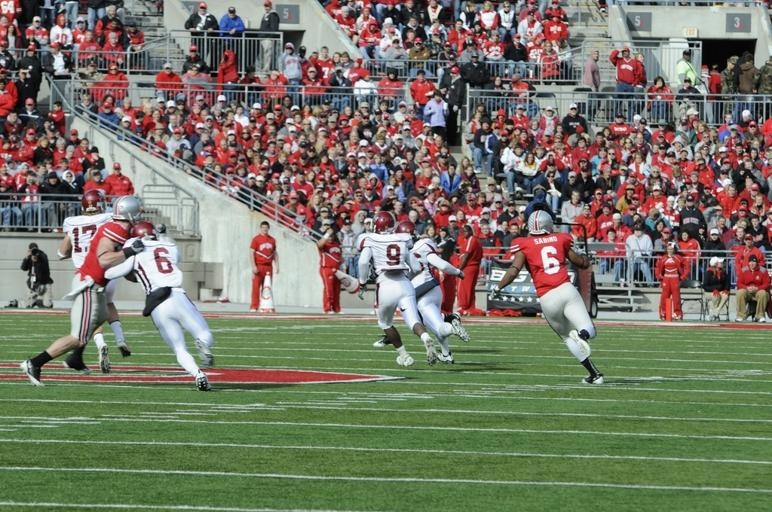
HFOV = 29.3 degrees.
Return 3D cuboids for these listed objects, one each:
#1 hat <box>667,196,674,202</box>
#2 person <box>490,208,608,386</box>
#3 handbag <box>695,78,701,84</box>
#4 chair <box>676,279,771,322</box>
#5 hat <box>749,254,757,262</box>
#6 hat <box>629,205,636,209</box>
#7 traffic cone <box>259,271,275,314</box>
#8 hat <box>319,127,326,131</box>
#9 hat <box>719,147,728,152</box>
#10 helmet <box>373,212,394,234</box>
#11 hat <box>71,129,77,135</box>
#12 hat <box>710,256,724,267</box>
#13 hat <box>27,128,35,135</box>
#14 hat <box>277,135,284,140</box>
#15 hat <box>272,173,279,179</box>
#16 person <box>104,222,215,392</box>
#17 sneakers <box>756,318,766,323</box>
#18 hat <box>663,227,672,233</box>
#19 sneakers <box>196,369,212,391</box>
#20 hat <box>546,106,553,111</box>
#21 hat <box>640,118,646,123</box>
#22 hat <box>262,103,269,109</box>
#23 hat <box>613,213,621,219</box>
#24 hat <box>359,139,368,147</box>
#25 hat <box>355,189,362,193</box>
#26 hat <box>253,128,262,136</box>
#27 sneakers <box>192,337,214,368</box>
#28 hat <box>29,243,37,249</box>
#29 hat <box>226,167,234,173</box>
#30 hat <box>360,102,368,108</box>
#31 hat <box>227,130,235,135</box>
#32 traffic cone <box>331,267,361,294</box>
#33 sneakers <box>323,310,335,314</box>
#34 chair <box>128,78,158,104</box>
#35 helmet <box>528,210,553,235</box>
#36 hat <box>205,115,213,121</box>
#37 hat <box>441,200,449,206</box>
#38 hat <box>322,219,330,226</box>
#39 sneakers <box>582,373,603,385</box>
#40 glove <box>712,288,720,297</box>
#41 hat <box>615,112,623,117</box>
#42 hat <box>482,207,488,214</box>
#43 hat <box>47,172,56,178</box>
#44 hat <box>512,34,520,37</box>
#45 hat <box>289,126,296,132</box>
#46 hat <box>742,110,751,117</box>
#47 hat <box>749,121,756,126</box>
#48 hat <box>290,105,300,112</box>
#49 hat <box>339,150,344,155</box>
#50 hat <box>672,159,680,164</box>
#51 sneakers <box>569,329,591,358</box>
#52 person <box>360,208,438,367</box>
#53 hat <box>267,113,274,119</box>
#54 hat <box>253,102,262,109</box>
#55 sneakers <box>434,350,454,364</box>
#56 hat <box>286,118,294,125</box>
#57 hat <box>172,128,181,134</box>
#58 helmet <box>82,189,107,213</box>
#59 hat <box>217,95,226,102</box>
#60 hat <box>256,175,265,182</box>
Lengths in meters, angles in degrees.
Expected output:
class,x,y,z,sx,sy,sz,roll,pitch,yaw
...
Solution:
class,x,y,z,sx,sy,sz,roll,pitch,yaw
hat,6.309,-1.259,32.726,0.151,0.148,0.196,1,-23,11
person,2.360,0.592,20.640,1.332,2.439,0.966,-1,2,5
handbag,8.537,-4.801,40.332,0.206,0.178,0.048,-1,12,-40
chair,6.975,0.946,31.393,1.280,0.832,1.463,-1,3,-3
hat,7.581,0.064,30.424,0.230,0.141,0.150,-1,3,-5
hat,5.469,-1.093,32.745,0.140,0.115,0.214,0,3,5
traffic cone,-2.519,0.793,31.125,0.302,0.796,0.453,-1,2,-6
hat,-1.481,-2.987,34.516,0.143,0.094,0.135,0,3,-36
hat,7.919,-2.519,34.650,0.151,0.153,0.205,1,-11,-2
helmet,0.014,-0.514,22.249,0.332,0.274,0.249,2,3,21
hat,-7.135,-2.870,33.864,0.166,0.122,0.259,3,-1,-5
hat,6.986,0.126,31.239,0.240,0.096,0.161,-6,23,28
hat,-7.953,-2.805,33.134,0.216,0.193,0.275,-1,3,-13
hat,-2.424,-2.747,34.054,0.170,0.116,0.264,2,6,-3
hat,-2.505,-1.832,33.581,0.237,0.107,0.146,-3,1,25
person,-2.957,0.681,19.598,1.391,2.264,0.663,1,3,36
sneakers,7.763,1.336,30.557,0.083,0.090,0.218,0,5,-1
hat,6.156,-0.573,32.273,0.176,0.117,0.278,1,-5,8
sneakers,-2.400,1.669,19.449,0.192,0.291,0.137,-14,24,-9
hat,4.010,-3.657,36.255,0.158,0.076,0.244,1,1,3
hat,6.206,-3.283,35.644,0.112,0.060,0.115,0,2,11
hat,-2.950,-3.744,36.523,0.137,0.145,0.187,3,5,-12
hat,5.068,-0.871,32.318,0.177,0.131,0.174,0,3,14
hat,-0.503,-2.634,34.191,0.209,0.167,0.293,-1,3,-1
hat,-0.601,-1.445,32.578,0.111,0.059,0.169,1,3,-2
hat,-3.003,-2.907,34.387,0.200,0.198,0.609,-1,3,-3
sneakers,-2.375,1.282,19.389,0.168,0.453,0.207,-37,4,-6
hat,-7.414,-0.213,31.054,0.170,0.119,0.152,-4,5,-14
hat,-3.560,-1.973,33.701,0.203,0.159,0.147,-1,2,1
hat,-0.514,-3.626,35.276,0.139,0.131,0.176,4,-5,-7
hat,-3.609,-2.896,34.404,0.193,0.130,0.191,0,3,6
traffic cone,-0.581,0.409,22.598,0.322,0.313,0.622,-1,3,-15
sneakers,-1.173,1.192,31.002,0.079,0.083,0.219,1,-6,-40
chair,-6.056,-4.161,36.650,0.802,0.720,0.506,3,-6,-13
helmet,2.179,-0.462,20.857,0.303,0.295,0.377,5,24,26
hat,-4.093,-3.248,34.560,0.200,0.157,0.309,2,10,-4
hat,1.287,-1.169,32.066,0.179,0.147,0.327,-1,3,2
hat,-1.249,-0.725,31.705,0.188,0.127,0.216,-1,3,-6
sneakers,2.857,1.727,20.562,0.322,0.128,0.125,4,20,9
glove,6.966,0.783,31.119,0.170,0.142,0.145,0,3,11
hat,5.762,-3.523,36.470,0.222,0.092,0.295,2,0,9
hat,2.182,-0.976,32.187,0.153,0.145,0.287,-1,3,0
hat,-7.285,-1.779,32.241,0.194,0.134,0.165,-1,3,-13
hat,3.479,-5.894,39.296,0.160,0.115,0.248,0,-1,-5
hat,-2.149,-2.951,34.207,0.167,0.128,0.183,-1,3,-9
hat,8.955,-3.570,36.754,0.168,0.123,0.231,4,14,14
hat,9.010,-3.261,36.267,0.113,0.149,0.153,-1,-6,12
hat,-2.228,-3.611,35.890,0.187,0.235,0.266,0,0,8
hat,-1.015,-2.388,33.940,0.060,0.123,0.225,1,3,31
hat,6.765,-2.224,34.507,0.173,0.145,0.287,0,3,11
sneakers,2.707,1.172,20.279,0.195,0.440,0.166,-32,-1,-13
person,0.171,0.498,22.011,1.403,2.288,0.578,1,3,35
hat,-2.721,-3.328,34.849,0.195,0.082,0.295,0,3,-4
hat,-3.060,-3.586,35.135,0.177,0.122,0.240,3,3,-9
sneakers,0.851,1.527,22.141,0.126,0.133,0.310,-5,14,-40
hat,-2.282,-3.201,34.882,0.183,0.129,0.150,-3,3,25
hat,-4.876,-2.937,34.536,0.167,0.114,0.257,2,-12,-3
helmet,-4.269,-0.840,21.443,0.291,0.341,0.359,6,27,19
hat,-3.965,-3.820,35.618,0.177,0.099,0.268,0,6,-7
hat,-2.841,-1.756,33.315,0.152,0.071,0.228,7,1,-21
